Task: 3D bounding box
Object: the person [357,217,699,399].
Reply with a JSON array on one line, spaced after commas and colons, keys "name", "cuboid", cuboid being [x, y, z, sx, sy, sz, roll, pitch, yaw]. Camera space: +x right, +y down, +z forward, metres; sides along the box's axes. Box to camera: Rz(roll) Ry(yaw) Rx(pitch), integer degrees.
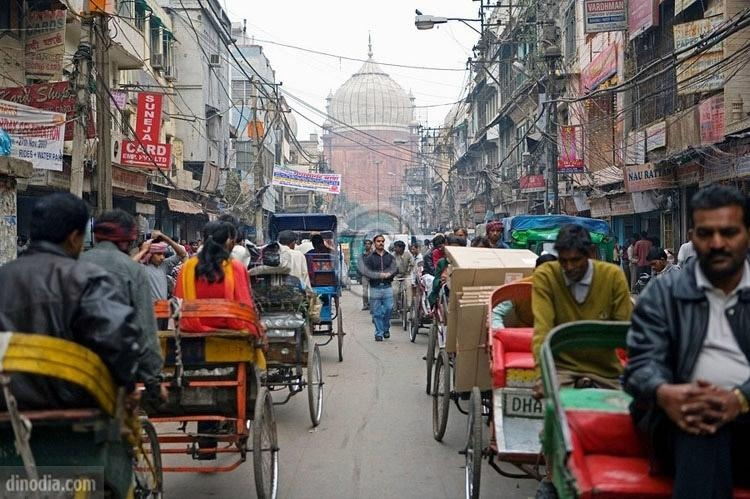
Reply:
[{"name": "person", "cuboid": [1.890, 0.539, 9.407, 0.978, 2.614, 1.104, 0, 0, 3]}]
